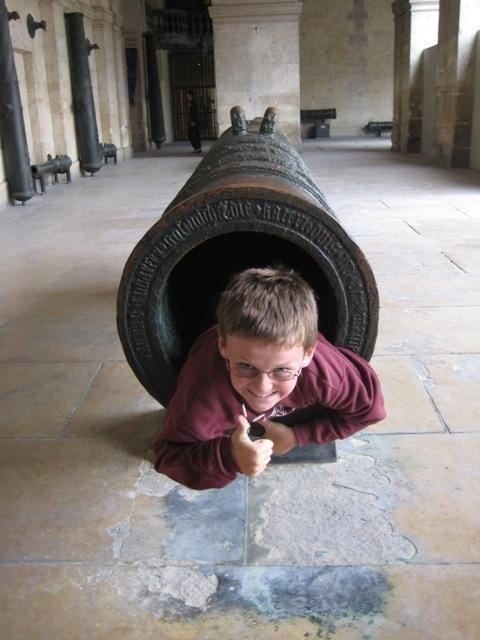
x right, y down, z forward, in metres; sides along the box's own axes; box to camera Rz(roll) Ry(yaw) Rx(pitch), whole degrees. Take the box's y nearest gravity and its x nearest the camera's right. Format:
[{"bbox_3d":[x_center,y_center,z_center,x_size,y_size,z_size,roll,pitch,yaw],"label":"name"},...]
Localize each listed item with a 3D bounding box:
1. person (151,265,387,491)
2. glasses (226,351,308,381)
[{"bbox_3d":[0.059,0.197,1.405,0.560,0.692,0.391,-20,26,-41],"label":"person"},{"bbox_3d":[0.053,0.112,1.201,0.159,0.057,0.049,-2,19,1],"label":"glasses"}]
